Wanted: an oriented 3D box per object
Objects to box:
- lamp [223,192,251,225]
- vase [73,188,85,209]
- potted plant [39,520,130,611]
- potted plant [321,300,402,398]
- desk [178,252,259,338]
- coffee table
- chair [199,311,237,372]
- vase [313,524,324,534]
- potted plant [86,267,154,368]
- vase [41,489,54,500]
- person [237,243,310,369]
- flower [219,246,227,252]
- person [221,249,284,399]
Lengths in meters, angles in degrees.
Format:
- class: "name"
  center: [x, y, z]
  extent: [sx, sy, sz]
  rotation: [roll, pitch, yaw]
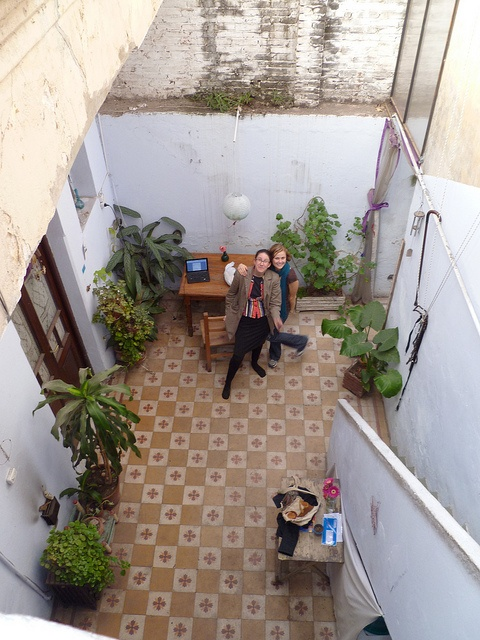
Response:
- class: "lamp"
  center: [-0.054, -1.514, 5.557]
  extent: [0.340, 0.374, 0.352]
  rotation: [32, 48, 17]
- class: "vase"
  center: [-2.005, -1.530, 5.001]
  extent: [0.094, 0.218, 0.361]
  rotation: [-16, 44, -14]
- class: "potted plant"
  center: [-1.287, 2.178, 3.710]
  extent: [0.805, 0.920, 0.681]
  rotation: [19, 52, -8]
- class: "potted plant"
  center: [1.601, 0.296, 5.088]
  extent: [1.023, 1.067, 1.067]
  rotation: [23, 86, 23]
- class: "desk"
  center: [-0.365, -0.320, 6.471]
  extent: [1.330, 1.049, 1.176]
  rotation: [-2, 61, -3]
- class: "coffee table"
  center: [0.637, 2.040, 3.875]
  extent: [0.598, 0.770, 0.737]
  rotation: [3, 42, 7]
- class: "chair"
  center: [-0.247, 0.273, 5.557]
  extent: [0.434, 0.798, 0.482]
  rotation: [-5, 7, -10]
- class: "vase"
  center: [0.688, 1.832, 3.546]
  extent: [0.086, 0.041, 0.083]
  rotation: [-2, 43, 1]
- class: "potted plant"
  center: [-1.604, 0.004, 5.325]
  extent: [0.693, 1.066, 0.715]
  rotation: [36, 50, 17]
- class: "vase"
  center: [-1.687, 1.545, 3.565]
  extent: [0.050, 0.048, 0.131]
  rotation: [-42, 75, 11]
- class: "person"
  center: [0.440, -0.128, 5.354]
  extent: [0.920, 1.793, 0.850]
  rotation: [24, 47, 26]
- class: "flower"
  center: [-0.271, -1.101, 6.253]
  extent: [0.104, 0.123, 0.118]
  rotation: [18, 10, -3]
- class: "person"
  center: [0.130, 0.071, 4.995]
  extent: [0.747, 1.937, 0.657]
  rotation: [-1, 41, 2]
